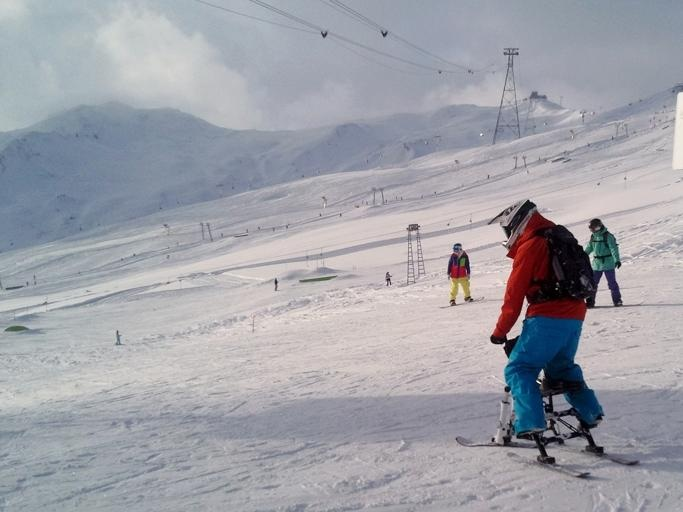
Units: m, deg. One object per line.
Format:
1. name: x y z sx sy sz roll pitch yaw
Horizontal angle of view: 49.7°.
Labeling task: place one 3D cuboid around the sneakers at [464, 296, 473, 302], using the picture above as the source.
1. sneakers: 4.036 1.396 23.540 0.345 0.177 0.106 -6 15 -10
